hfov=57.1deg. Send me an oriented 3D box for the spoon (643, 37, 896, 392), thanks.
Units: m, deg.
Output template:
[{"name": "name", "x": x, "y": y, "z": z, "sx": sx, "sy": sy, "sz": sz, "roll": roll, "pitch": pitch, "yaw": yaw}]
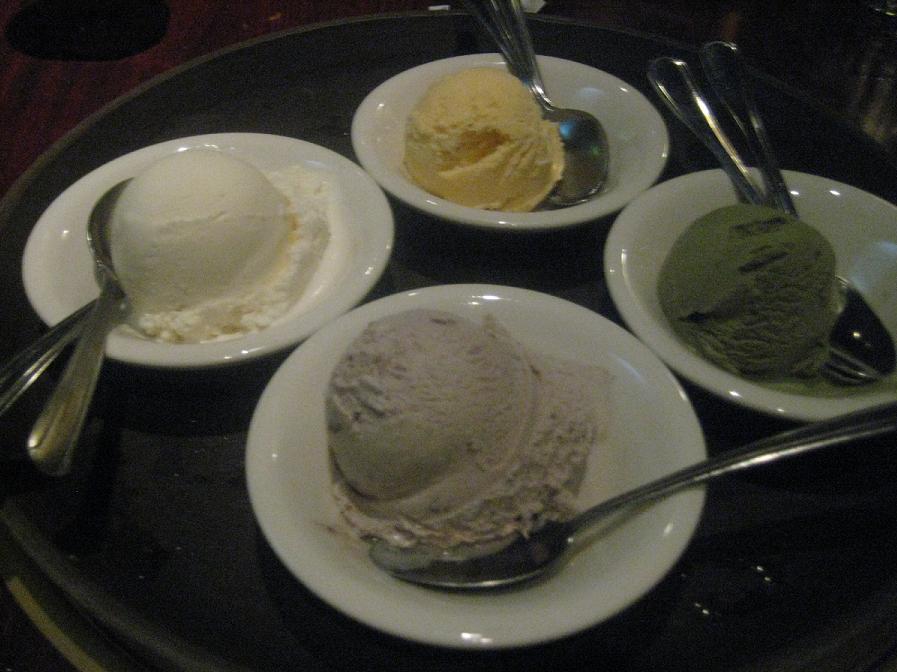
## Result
[{"name": "spoon", "x": 0.518, "y": -0.220, "z": 1.414, "sx": 0.179, "sy": 0.105, "sz": 0.728, "roll": -15, "pitch": 55, "yaw": 1}]
